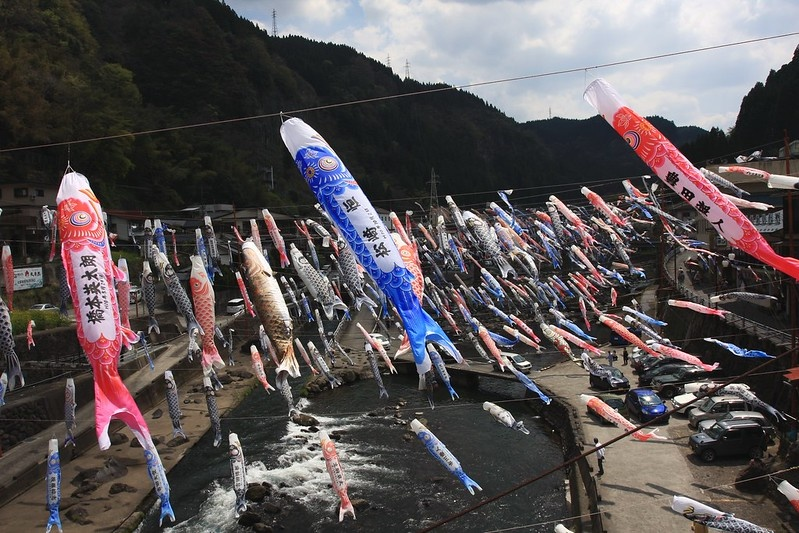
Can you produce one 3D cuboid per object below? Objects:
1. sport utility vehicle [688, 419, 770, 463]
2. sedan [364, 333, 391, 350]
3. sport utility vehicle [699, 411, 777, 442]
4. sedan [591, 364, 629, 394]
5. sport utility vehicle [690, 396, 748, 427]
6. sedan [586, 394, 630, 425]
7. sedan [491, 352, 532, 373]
[{"bbox_3d":[11.615,6.009,18.179,2.348,1.044,1.294,0,9,3],"label":"sport utility vehicle"},{"bbox_3d":[-0.946,4.319,30.751,1.042,0.646,1.993,-2,6,-28],"label":"sedan"},{"bbox_3d":[12.201,5.601,18.429,2.529,0.927,1.107,1,-4,7],"label":"sport utility vehicle"},{"bbox_3d":[9.637,5.154,23.615,0.952,0.718,1.509,-4,-2,-24],"label":"sedan"},{"bbox_3d":[12.084,5.398,19.551,1.850,0.927,1.052,0,-3,7],"label":"sport utility vehicle"},{"bbox_3d":[8.847,5.804,21.367,0.896,0.619,1.331,-1,15,-11],"label":"sedan"},{"bbox_3d":[5.958,4.968,26.755,1.706,0.811,0.988,-7,-3,32],"label":"sedan"}]
